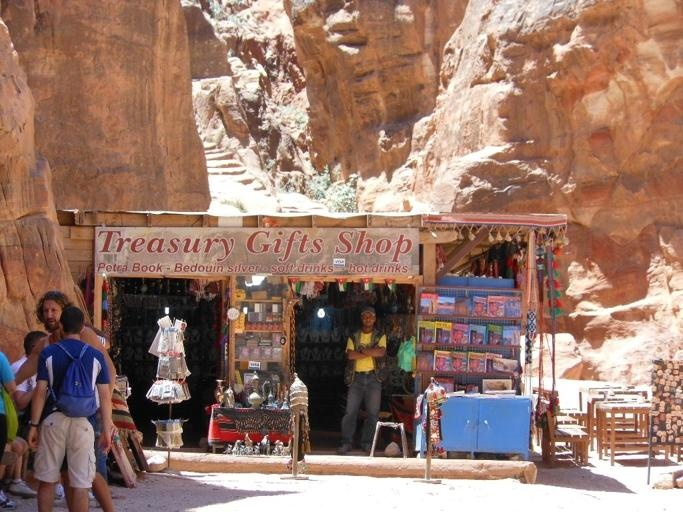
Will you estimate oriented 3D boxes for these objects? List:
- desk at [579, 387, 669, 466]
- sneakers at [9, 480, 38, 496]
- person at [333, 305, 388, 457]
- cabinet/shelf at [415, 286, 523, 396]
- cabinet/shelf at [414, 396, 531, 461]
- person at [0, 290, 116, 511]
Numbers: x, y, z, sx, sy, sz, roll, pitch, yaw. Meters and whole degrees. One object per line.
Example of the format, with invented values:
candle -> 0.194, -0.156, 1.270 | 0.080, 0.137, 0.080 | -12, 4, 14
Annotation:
desk -> 5.479, 3.341, 19.425 | 0.964, 0.951, 1.509 | 0, 1, 1
sneakers -> -4.719, 3.428, 14.675 | 0.425, 0.277, 0.186 | 5, 5, -11
person -> 0.394, 2.310, 18.516 | 0.812, 2.707, 0.466 | 1, -6, 3
cabinet/shelf -> 2.401, 1.409, 18.637 | 1.897, 1.930, 0.725 | 2, -20, 8
cabinet/shelf -> 2.574, 3.046, 17.651 | 1.575, 1.151, 0.295 | 0, -6, 6
person -> -3.881, 2.012, 13.869 | 1.373, 3.093, 0.862 | 3, -7, -19
